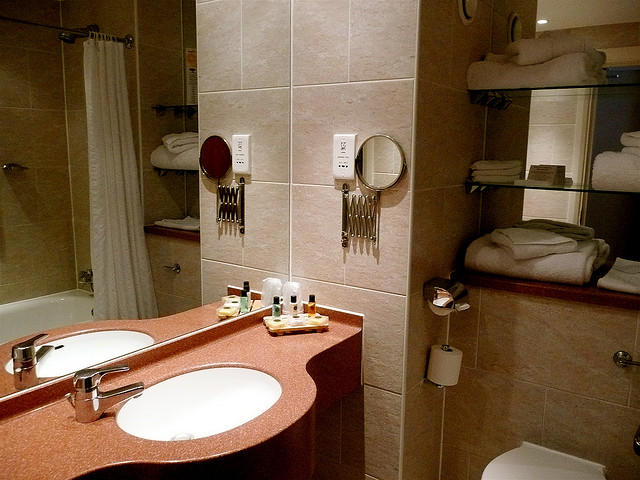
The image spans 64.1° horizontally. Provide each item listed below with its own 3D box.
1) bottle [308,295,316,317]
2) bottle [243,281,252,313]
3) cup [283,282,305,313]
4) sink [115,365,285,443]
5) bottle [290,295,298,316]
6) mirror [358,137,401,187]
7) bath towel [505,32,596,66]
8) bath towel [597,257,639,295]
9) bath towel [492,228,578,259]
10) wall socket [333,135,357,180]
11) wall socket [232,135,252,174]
[{"bbox_3d":[-0.037,0.267,2.131,0.031,0.088,0.071,-2,12,-3],"label":"bottle"},{"bbox_3d":[-0.311,0.237,2.200,0.034,0.111,0.115,-3,12,-8],"label":"bottle"},{"bbox_3d":[-0.114,0.245,2.171,0.103,0.140,0.077,9,13,37],"label":"cup"},{"bbox_3d":[-0.397,0.560,1.742,0.287,0.106,0.289,-4,3,-22],"label":"sink"},{"bbox_3d":[-0.111,0.271,2.145,0.035,0.082,0.027,-4,12,-13],"label":"bottle"},{"bbox_3d":[0.226,-0.303,1.952,0.179,0.182,0.027,8,15,39],"label":"mirror"},{"bbox_3d":[0.938,-0.790,2.099,0.335,0.123,0.146,5,13,27],"label":"bath towel"},{"bbox_3d":[1.282,0.146,2.147,0.144,0.046,0.423,8,15,38],"label":"bath towel"},{"bbox_3d":[0.944,0.004,2.294,0.376,0.119,0.371,-4,10,25],"label":"bath towel"},{"bbox_3d":[0.100,-0.331,2.024,0.100,0.175,0.029,5,14,29],"label":"wall socket"},{"bbox_3d":[-0.330,-0.367,2.189,0.079,0.171,0.054,3,5,22],"label":"wall socket"}]
